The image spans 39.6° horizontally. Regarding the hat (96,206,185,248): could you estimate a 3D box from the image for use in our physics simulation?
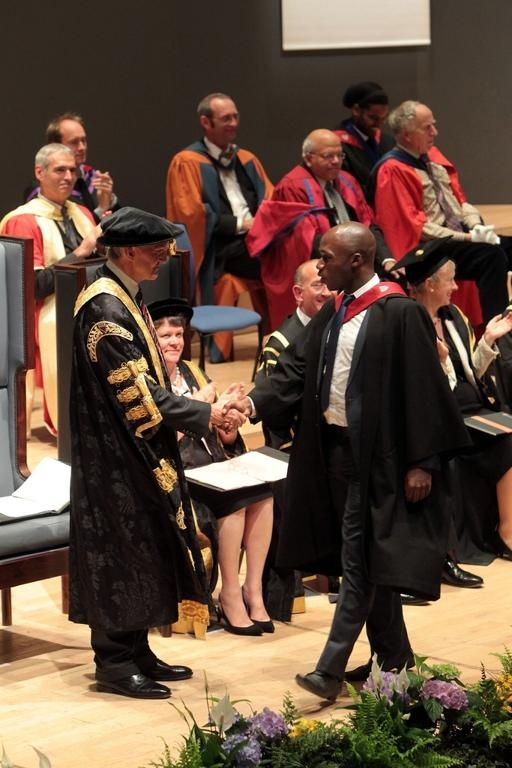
[{"bbox_3d":[-0.368,-0.479,2.086,0.165,0.054,0.165,-15,26,-32],"label":"hat"}]

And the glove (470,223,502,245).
[{"bbox_3d":[1.889,-1.228,5.879,0.227,0.168,0.091,-8,40,40],"label":"glove"}]

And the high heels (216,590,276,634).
[{"bbox_3d":[-0.058,0.967,2.964,0.204,0.073,0.108,0,-1,39],"label":"high heels"}]
